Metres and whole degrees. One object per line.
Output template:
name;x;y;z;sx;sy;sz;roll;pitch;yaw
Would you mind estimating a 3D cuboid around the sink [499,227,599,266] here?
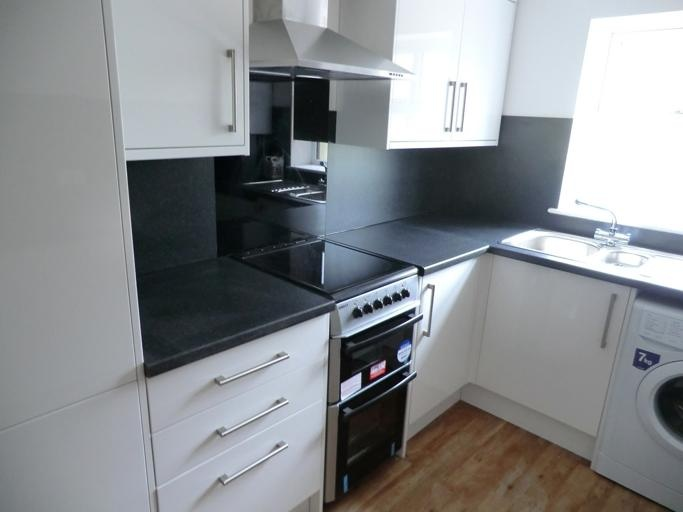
sink;1.364;-0.058;3.206;0.299;0.152;0.342;-28;38;-36
